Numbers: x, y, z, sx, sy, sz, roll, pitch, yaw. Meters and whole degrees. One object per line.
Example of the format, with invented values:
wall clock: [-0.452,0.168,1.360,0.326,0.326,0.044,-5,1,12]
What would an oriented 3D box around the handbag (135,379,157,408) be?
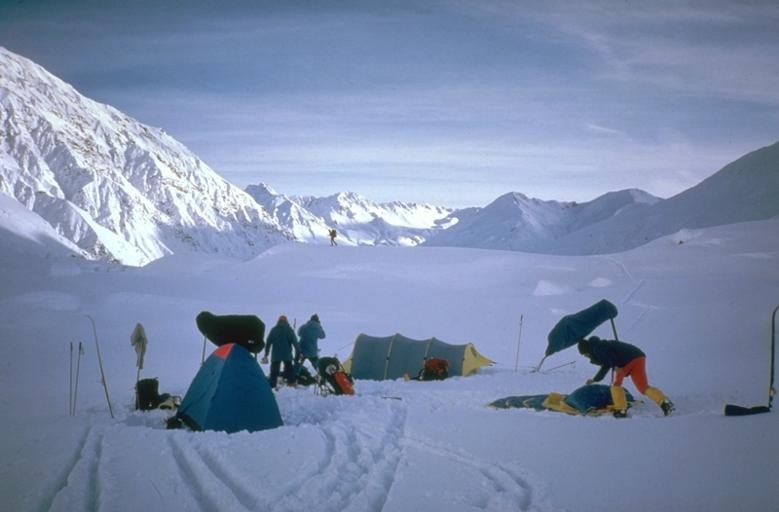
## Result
handbag: [-10.296,5.815,31.168,0.962,1.144,0.655,-5,15,-19]

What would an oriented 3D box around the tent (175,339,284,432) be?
tent: [-6.456,5.080,30.719,4.772,2.892,4.194,9,7,5]

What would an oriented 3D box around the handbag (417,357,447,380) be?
handbag: [2.111,5.661,36.633,1.554,0.919,0.774,0,14,3]
